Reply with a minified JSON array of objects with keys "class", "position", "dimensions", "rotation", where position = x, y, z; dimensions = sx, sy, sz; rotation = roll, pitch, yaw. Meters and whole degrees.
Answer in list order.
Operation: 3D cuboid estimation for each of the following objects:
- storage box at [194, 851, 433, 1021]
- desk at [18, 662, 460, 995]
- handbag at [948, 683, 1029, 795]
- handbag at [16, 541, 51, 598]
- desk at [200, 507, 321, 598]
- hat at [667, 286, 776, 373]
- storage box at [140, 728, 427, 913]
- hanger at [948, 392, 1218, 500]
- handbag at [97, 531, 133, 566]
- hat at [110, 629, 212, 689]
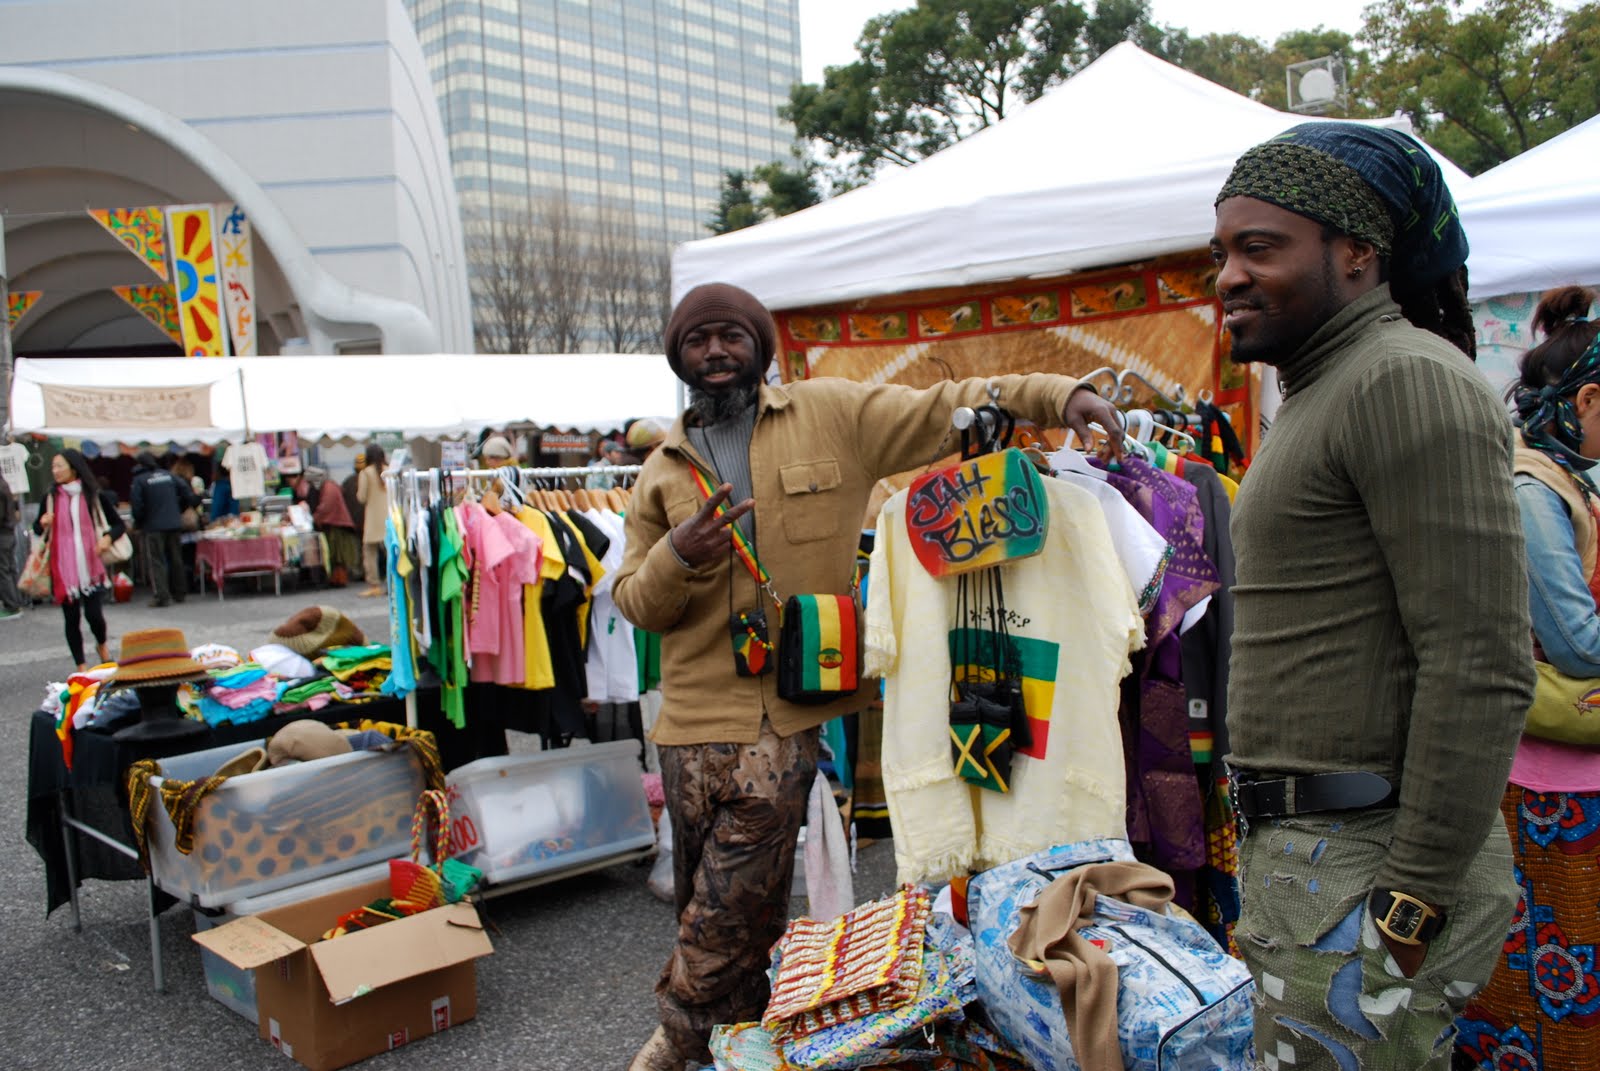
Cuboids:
[{"class":"storage box","position":[-2.193,1.685,4.896],"dimensions":[0.648,0.242,0.692],"rotation":[-11,15,-39]},{"class":"desk","position":[-3.225,1.212,5.453],"dimensions":[1.438,0.739,1.182],"rotation":[-6,11,-35]},{"class":"handbag","position":[0.560,0.602,3.352],"dimensions":[0.165,0.389,0.275],"rotation":[-9,10,-34]},{"class":"handbag","position":[-8.122,0.347,11.981],"dimensions":[0.359,0.837,0.691],"rotation":[-1,4,-33]},{"class":"desk","position":[-7.851,0.261,16.456],"dimensions":[1.384,0.655,1.347],"rotation":[-3,2,41]},{"class":"hat","position":[-0.279,-0.707,3.801],"dimensions":[0.363,0.324,0.182],"rotation":[-6,5,-7]},{"class":"storage box","position":[-2.309,1.155,5.108],"dimensions":[1.010,0.538,0.652],"rotation":[-5,6,-42]},{"class":"hanger","position":[0.851,-0.276,3.489],"dimensions":[0.357,0.087,0.874],"rotation":[21,5,29]},{"class":"handbag","position":[-6.661,0.093,10.970],"dimensions":[0.165,0.378,0.366],"rotation":[-10,2,-1]},{"class":"hat","position":[-2.954,0.556,5.193],"dimensions":[0.304,0.167,0.268],"rotation":[-9,5,-29]}]
